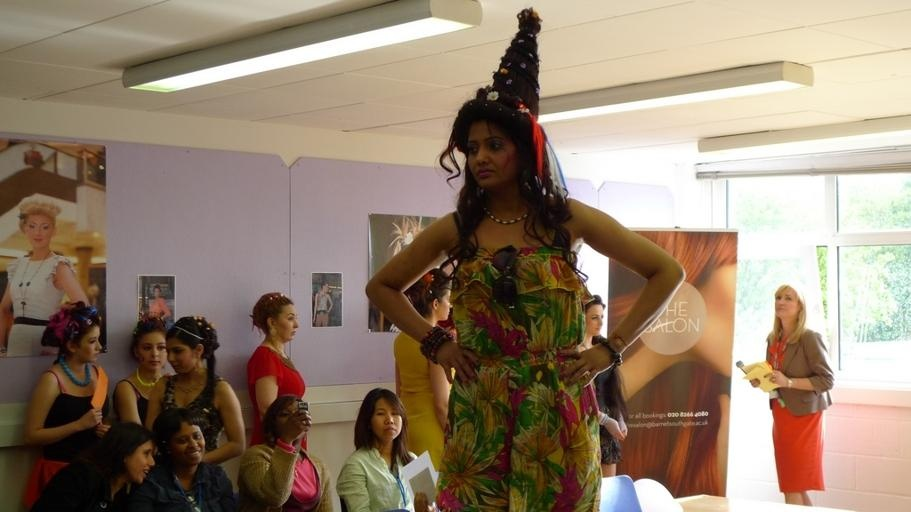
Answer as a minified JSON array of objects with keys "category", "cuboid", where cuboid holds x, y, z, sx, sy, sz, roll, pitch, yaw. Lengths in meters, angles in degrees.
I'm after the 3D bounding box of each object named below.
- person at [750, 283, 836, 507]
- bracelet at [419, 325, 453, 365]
[{"category":"person","cuboid":[3.920,1.589,7.348,0.658,2.510,0.505,1,-3,25]},{"category":"bracelet","cuboid":[-0.076,0.421,3.088,0.151,0.080,0.167,-38,-2,11]}]
